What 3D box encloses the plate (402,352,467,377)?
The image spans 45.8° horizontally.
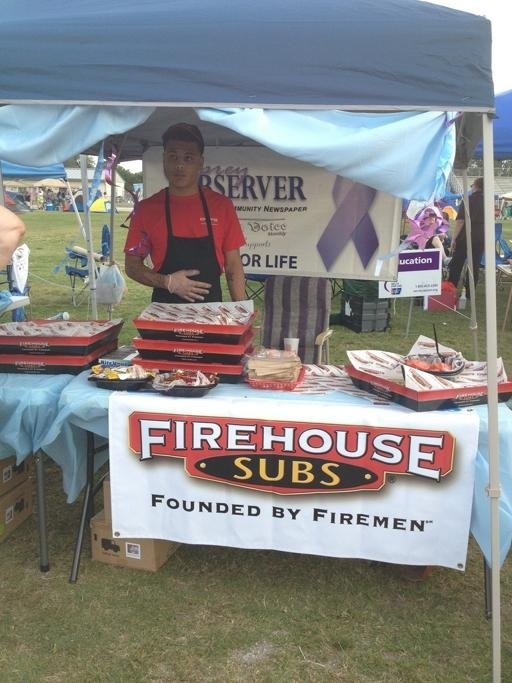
[{"bbox_3d":[0.788,0.097,2.617,0.138,0.044,0.152,-1,13,-15],"label":"plate"}]

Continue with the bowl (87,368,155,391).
[{"bbox_3d":[-0.578,0.165,2.609,0.272,0.099,0.094,-3,11,-10],"label":"bowl"}]

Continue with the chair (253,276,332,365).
[{"bbox_3d":[0.332,-0.242,4.901,0.595,0.780,0.681,3,31,8],"label":"chair"}]

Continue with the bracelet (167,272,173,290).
[{"bbox_3d":[-0.461,-0.315,3.263,0.026,0.065,0.049,6,-5,-3],"label":"bracelet"}]

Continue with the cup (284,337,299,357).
[{"bbox_3d":[0.162,0.022,2.908,0.089,0.082,0.078,0,-5,21],"label":"cup"}]

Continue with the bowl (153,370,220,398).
[{"bbox_3d":[-0.297,0.175,2.578,0.276,0.092,0.206,-3,10,-11],"label":"bowl"}]
